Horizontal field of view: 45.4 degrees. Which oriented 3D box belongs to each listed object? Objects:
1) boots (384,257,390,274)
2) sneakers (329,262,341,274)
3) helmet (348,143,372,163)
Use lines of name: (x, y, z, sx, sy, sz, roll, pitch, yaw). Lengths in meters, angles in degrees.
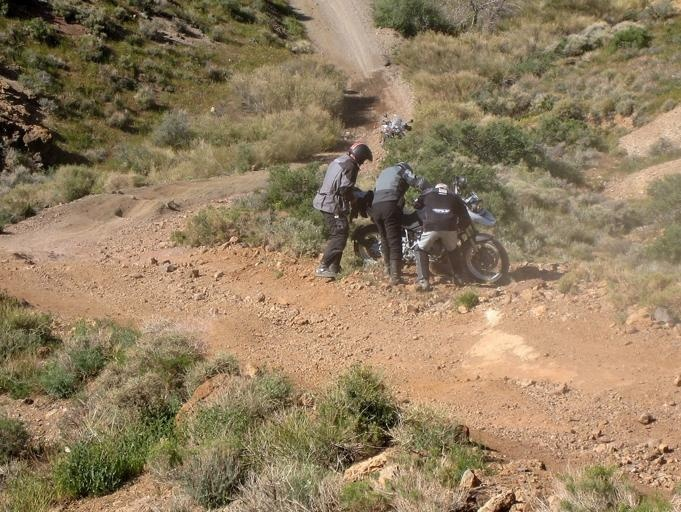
boots: (1.099, 0.209, 18.657, 0.106, 0.324, 0.208, -9, 13, -33)
sneakers: (-0.092, 0.269, 18.891, 0.216, 0.249, 0.207, 4, -1, -8)
helmet: (0.501, -2.364, 18.652, 0.475, 0.471, 0.375, -17, 34, -18)
